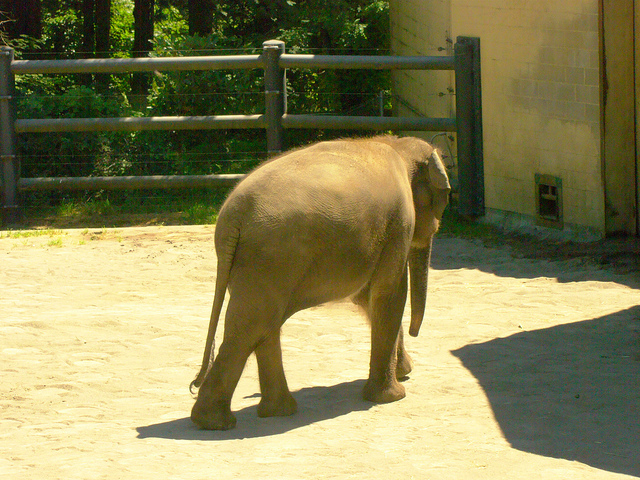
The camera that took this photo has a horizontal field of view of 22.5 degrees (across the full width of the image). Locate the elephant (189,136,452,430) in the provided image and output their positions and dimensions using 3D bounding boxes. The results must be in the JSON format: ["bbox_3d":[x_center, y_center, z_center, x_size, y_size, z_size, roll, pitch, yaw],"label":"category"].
[{"bbox_3d":[0.007,0.370,15.307,3.072,2.573,1.310,-9,15,-43],"label":"elephant"}]
